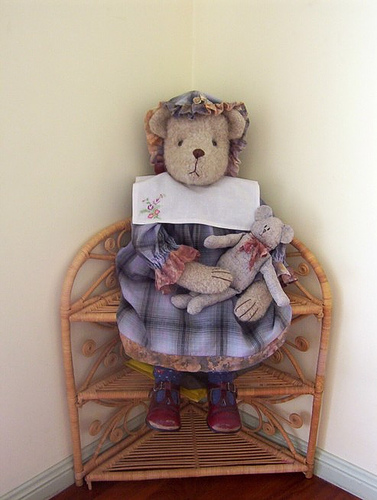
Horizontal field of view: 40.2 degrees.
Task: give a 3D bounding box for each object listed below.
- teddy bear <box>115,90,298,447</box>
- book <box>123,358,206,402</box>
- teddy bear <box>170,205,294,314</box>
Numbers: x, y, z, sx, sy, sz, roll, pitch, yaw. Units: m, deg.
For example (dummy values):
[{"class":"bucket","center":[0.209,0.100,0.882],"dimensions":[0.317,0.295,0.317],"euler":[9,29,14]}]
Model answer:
[{"class":"teddy bear","center":[0.065,0.119,1.750],"dimensions":[0.637,1.231,0.770],"euler":[-3,25,-8]},{"class":"book","center":[-0.090,0.432,1.716],"dimensions":[0.317,0.094,0.072],"euler":[14,27,30]},{"class":"teddy bear","center":[0.135,0.049,1.582],"dimensions":[0.380,0.254,0.205],"euler":[-1,24,-2]}]
